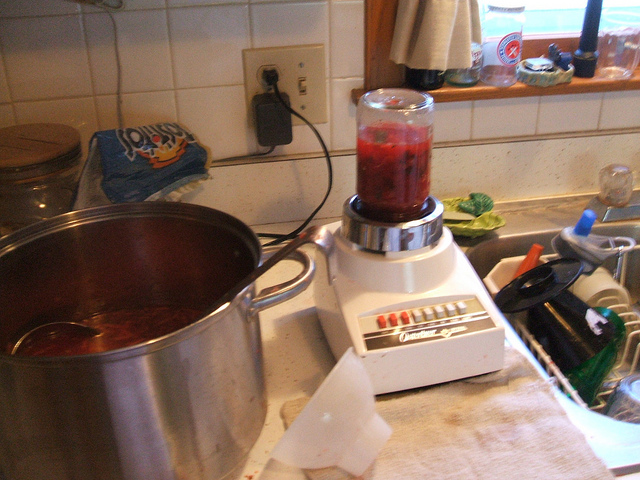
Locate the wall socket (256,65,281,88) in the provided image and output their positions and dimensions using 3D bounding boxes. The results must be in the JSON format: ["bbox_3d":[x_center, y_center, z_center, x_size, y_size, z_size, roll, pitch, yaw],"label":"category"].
[{"bbox_3d":[-0.122,-0.354,1.072,0.053,0.041,0.018,-2,23,-1],"label":"wall socket"}]
